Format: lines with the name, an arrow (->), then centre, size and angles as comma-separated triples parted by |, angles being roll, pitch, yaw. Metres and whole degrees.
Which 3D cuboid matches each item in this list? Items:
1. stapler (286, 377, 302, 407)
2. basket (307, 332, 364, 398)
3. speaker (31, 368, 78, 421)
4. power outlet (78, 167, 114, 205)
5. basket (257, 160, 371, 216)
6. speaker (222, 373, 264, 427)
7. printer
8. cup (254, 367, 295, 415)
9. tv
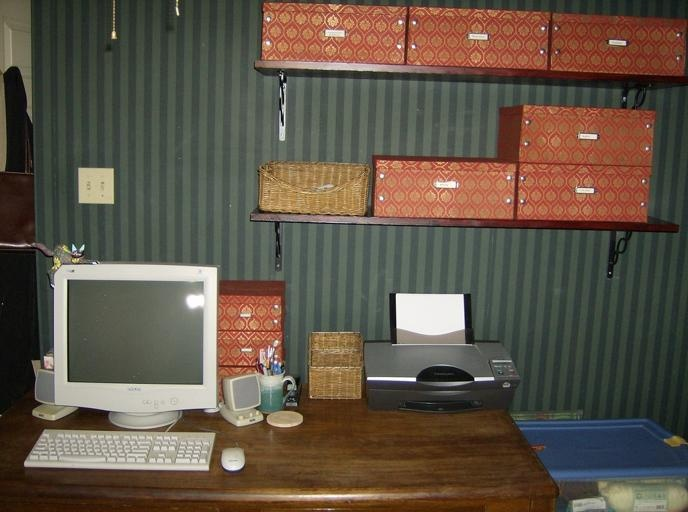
stapler -> -0.195, 0.517, 2.365 | 0.037, 0.043, 0.119 | 2, 7, -3
basket -> -0.028, 0.424, 2.467 | 0.218, 0.153, 0.221 | 1, 6, 3
speaker -> -1.047, 0.484, 2.280 | 0.119, 0.164, 0.143 | 3, 10, 28
power outlet -> -1.006, -0.297, 2.552 | 0.137, 0.143, 0.012 | 0, 7, 0
basket -> -0.110, -0.231, 2.357 | 0.331, 0.146, 0.216 | 0, 42, 0
speaker -> -0.380, 0.510, 2.291 | 0.128, 0.169, 0.171 | -7, 11, -40
printer -> 0.360, 0.383, 2.416 | 0.546, 0.379, 0.334 | 0, 19, -1
cup -> -0.247, 0.506, 2.339 | 0.145, 0.143, 0.094 | -2, 2, 9
tv -> -0.720, 0.287, 2.165 | 0.544, 0.572, 0.305 | 1, 0, -2
